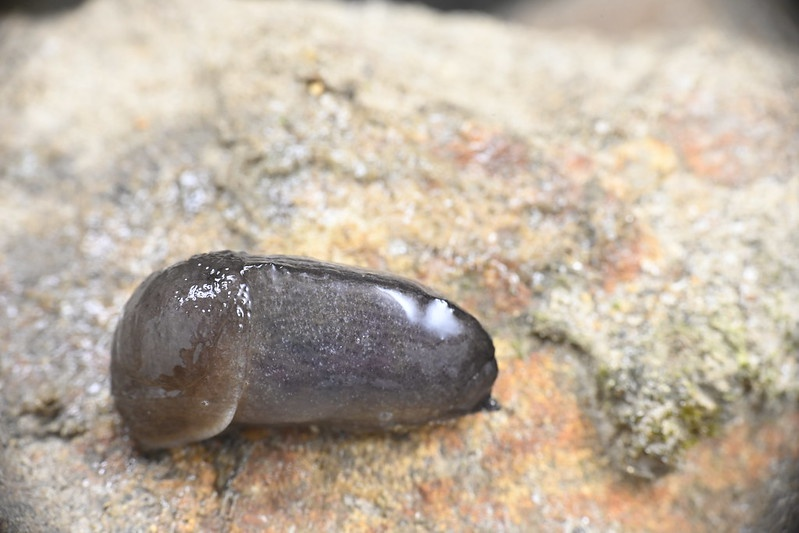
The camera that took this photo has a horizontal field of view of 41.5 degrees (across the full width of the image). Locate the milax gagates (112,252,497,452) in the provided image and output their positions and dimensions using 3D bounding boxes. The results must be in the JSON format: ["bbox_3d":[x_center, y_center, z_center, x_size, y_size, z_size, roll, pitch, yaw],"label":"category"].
[{"bbox_3d":[-0.343,0.371,3.887,1.244,0.506,0.622,4,51,-2],"label":"milax gagates"}]
